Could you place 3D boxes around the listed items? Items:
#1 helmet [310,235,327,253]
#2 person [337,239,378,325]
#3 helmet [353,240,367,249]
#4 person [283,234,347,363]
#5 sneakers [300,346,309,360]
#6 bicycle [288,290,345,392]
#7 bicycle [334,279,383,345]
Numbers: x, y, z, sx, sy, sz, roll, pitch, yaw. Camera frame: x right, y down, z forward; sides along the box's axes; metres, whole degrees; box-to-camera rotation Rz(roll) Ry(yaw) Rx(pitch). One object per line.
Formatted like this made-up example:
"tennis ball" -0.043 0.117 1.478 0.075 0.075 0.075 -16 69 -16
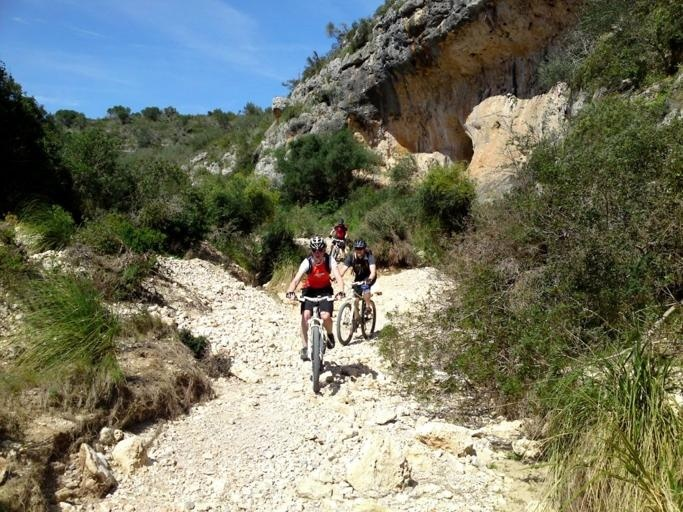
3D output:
"helmet" -0.398 -0.191 9.869 0.239 0.283 0.350 -2 16 -7
"person" 0.395 0.512 11.774 0.721 1.675 0.969 8 16 40
"helmet" 0.351 -0.213 11.669 0.216 0.223 0.217 2 15 6
"person" -0.361 0.698 9.934 0.821 2.038 1.164 3 13 15
"sneakers" -0.625 1.658 10.020 0.089 0.147 0.285 0 -15 0
"bicycle" -0.452 1.304 10.331 0.770 1.495 2.204 0 10 -3
"bicycle" 0.245 1.275 12.106 0.593 0.956 1.321 -1 -9 20
